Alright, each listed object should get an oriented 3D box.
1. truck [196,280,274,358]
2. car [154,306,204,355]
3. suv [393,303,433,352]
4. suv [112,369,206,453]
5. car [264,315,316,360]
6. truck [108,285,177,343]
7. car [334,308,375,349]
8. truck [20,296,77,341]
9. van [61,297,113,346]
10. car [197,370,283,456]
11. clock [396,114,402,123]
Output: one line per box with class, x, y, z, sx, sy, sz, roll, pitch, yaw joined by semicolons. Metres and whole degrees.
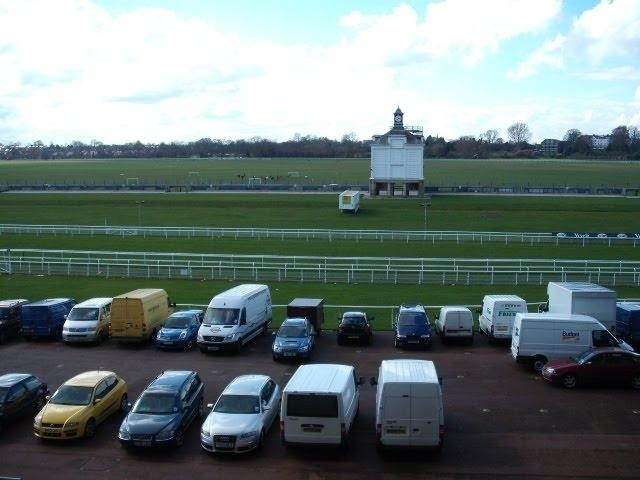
truck;-3.771;3.658;38.103;1.623;2.423;4.122;3;10;21
car;-6.191;3.976;38.390;1.637;1.209;3.081;6;11;10
suv;4.231;3.874;38.829;1.784;1.364;3.940;1;11;5
suv;-5.474;5.943;29.985;2.138;1.425;4.552;3;13;10
car;-1.034;4.229;37.009;1.729;1.268;3.719;1;11;4
truck;-8.172;3.499;39.353;1.895;1.961;4.180;1;5;9
car;1.701;3.879;39.949;1.656;1.216;3.502;1;12;5
truck;-12.642;3.734;40.062;1.772;1.439;3.109;1;5;19
van;-10.602;3.720;39.422;1.789;1.548;3.421;3;9;8
car;-2.705;6.027;30.068;2.168;1.475;4.826;2;11;7
clock;10.953;-16.821;117.883;0.900;1.045;0.642;-1;10;0
